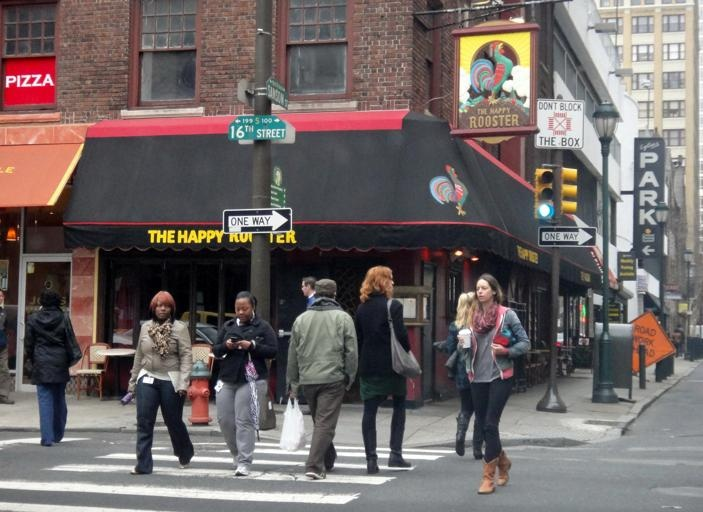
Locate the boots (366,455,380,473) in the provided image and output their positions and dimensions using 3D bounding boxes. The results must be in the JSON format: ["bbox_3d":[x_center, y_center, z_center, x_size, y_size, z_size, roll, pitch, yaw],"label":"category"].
[{"bbox_3d":[0.333,3.145,16.298,0.142,0.280,0.298,-2,-3,26],"label":"boots"}]

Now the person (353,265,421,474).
[{"bbox_3d":[0.557,1.724,16.692,1.057,2.984,1.036,3,2,-2],"label":"person"}]

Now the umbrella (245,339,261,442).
[{"bbox_3d":[-1.465,2.033,16.277,0.176,1.157,0.344,-2,-2,16],"label":"umbrella"}]

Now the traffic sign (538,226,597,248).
[{"bbox_3d":[4.552,-0.427,22.736,1.163,0.469,0.762,-2,-3,9],"label":"traffic sign"}]

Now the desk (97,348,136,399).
[{"bbox_3d":[-5.076,2.490,23.082,0.831,0.977,0.848,1,2,6],"label":"desk"}]

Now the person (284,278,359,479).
[{"bbox_3d":[-0.466,1.888,16.394,1.018,2.793,1.137,0,-1,-4],"label":"person"}]

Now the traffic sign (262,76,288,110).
[{"bbox_3d":[-1.340,-2.953,19.639,0.015,0.465,0.804,-16,30,-25],"label":"traffic sign"}]

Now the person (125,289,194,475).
[{"bbox_3d":[-2.800,1.874,16.472,0.916,2.598,1.133,0,-1,10],"label":"person"}]

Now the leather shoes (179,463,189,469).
[{"bbox_3d":[-2.565,3.226,16.510,0.143,0.066,0.054,7,-11,-5],"label":"leather shoes"}]

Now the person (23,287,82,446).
[{"bbox_3d":[-5.216,1.882,18.776,0.824,2.638,1.017,2,-2,-38],"label":"person"}]

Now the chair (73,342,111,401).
[{"bbox_3d":[-5.677,2.523,23.433,0.723,1.299,0.743,2,-5,-15],"label":"chair"}]

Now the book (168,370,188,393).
[{"bbox_3d":[-2.589,1.887,16.130,0.289,0.291,0.253,-7,-4,20],"label":"book"}]

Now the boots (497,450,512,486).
[{"bbox_3d":[2.241,3.103,15.866,0.188,0.498,0.507,-1,-2,8],"label":"boots"}]

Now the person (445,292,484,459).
[{"bbox_3d":[1.905,1.981,17.578,0.805,2.677,0.813,-6,-5,-3],"label":"person"}]

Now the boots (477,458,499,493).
[{"bbox_3d":[1.946,3.153,15.362,0.225,0.445,0.567,2,4,24],"label":"boots"}]

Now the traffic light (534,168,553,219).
[{"bbox_3d":[4.113,-1.298,22.866,0.405,1.061,0.658,-1,-2,11],"label":"traffic light"}]

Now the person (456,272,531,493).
[{"bbox_3d":[2.075,1.825,15.773,0.914,3.108,1.069,-1,-2,9],"label":"person"}]

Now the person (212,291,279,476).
[{"bbox_3d":[-1.674,1.894,16.580,0.980,2.684,1.035,0,-1,13],"label":"person"}]

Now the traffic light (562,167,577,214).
[{"bbox_3d":[4.710,-1.422,23.312,0.339,1.007,0.804,-2,-2,15],"label":"traffic light"}]

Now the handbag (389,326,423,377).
[{"bbox_3d":[0.807,1.421,16.231,0.414,0.828,0.233,-1,-2,3],"label":"handbag"}]

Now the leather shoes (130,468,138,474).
[{"bbox_3d":[-3.265,3.216,16.174,0.106,0.102,0.273,0,-3,-15],"label":"leather shoes"}]

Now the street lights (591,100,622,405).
[{"bbox_3d":[6.012,-0.150,25.387,0.909,7.204,0.918,-1,-5,24],"label":"street lights"}]
